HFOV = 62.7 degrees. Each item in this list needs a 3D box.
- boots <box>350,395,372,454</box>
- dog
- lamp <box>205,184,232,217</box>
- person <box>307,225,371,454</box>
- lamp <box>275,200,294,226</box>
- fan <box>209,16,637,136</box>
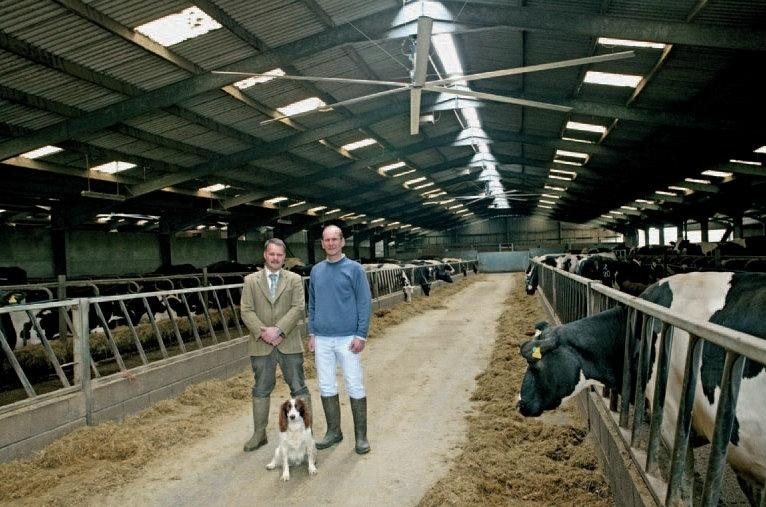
[{"bbox_3d":[-0.298,2.259,8.430,0.201,0.699,0.457,-5,1,-4],"label":"boots"},{"bbox_3d":[-1.181,2.317,7.986,0.649,1.010,0.379,-4,1,1],"label":"dog"},{"bbox_3d":[-5.938,-1.872,21.986,1.140,0.960,1.143,-3,-3,19],"label":"lamp"},{"bbox_3d":[-0.575,1.125,8.454,0.877,2.875,0.636,-5,1,-7],"label":"person"},{"bbox_3d":[-4.097,-1.872,26.334,0.789,0.188,0.750,-7,-30,-8],"label":"lamp"},{"bbox_3d":[1.083,-2.980,10.612,4.013,0.538,3.952,3,-8,-14],"label":"fan"}]
